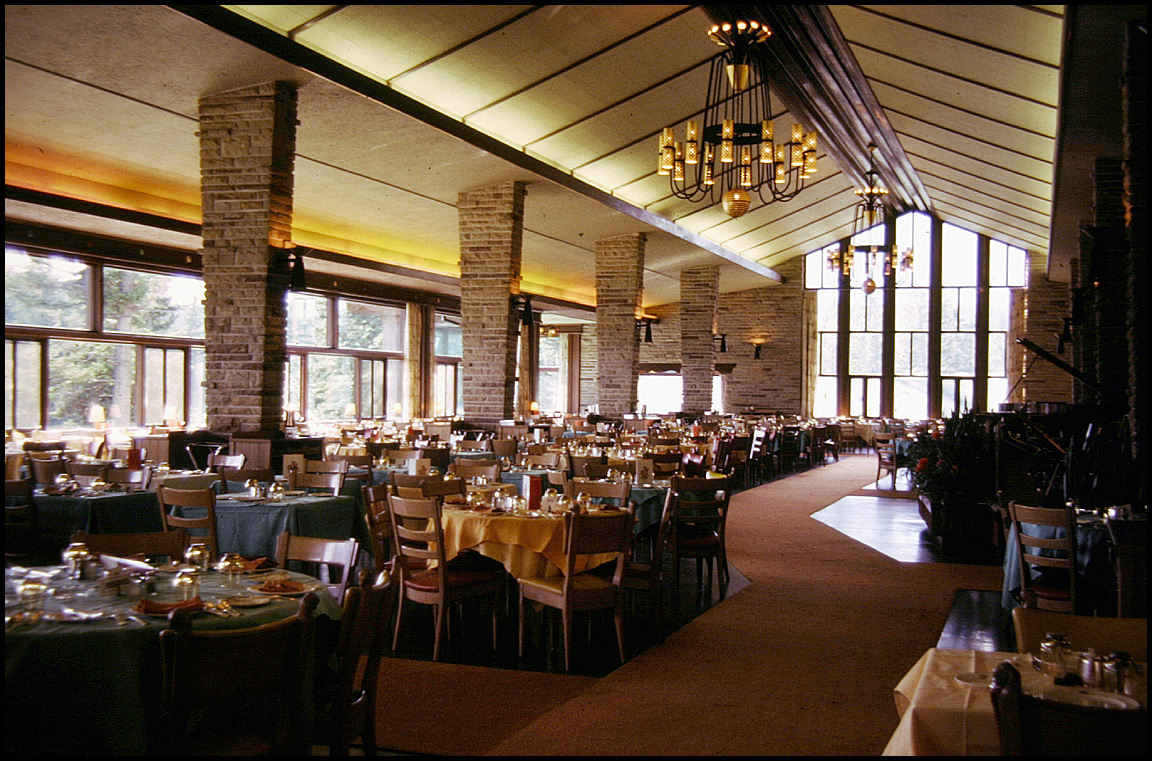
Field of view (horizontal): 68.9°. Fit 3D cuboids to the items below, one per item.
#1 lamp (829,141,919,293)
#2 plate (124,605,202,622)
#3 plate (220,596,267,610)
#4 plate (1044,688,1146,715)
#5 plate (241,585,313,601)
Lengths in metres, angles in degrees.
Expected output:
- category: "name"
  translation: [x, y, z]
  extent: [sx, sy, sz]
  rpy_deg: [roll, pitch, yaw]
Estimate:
- category: "lamp"
  translation: [7.478, -4.098, 20.857]
  extent: [1.950, 3.162, 1.646]
  rpy_deg: [4, 2, 31]
- category: "plate"
  translation: [-2.014, 1.136, 4.164]
  extent: [0.312, 0.068, 0.187]
  rpy_deg: [2, -5, -20]
- category: "plate"
  translation: [-1.699, 1.160, 4.377]
  extent: [0.237, 0.041, 0.208]
  rpy_deg: [0, -5, -4]
- category: "plate"
  translation: [2.132, 1.323, 3.455]
  extent: [0.368, 0.037, 0.199]
  rpy_deg: [-2, -3, 31]
- category: "plate"
  translation: [-1.586, 1.143, 4.533]
  extent: [0.357, 0.049, 0.218]
  rpy_deg: [1, -5, -13]
